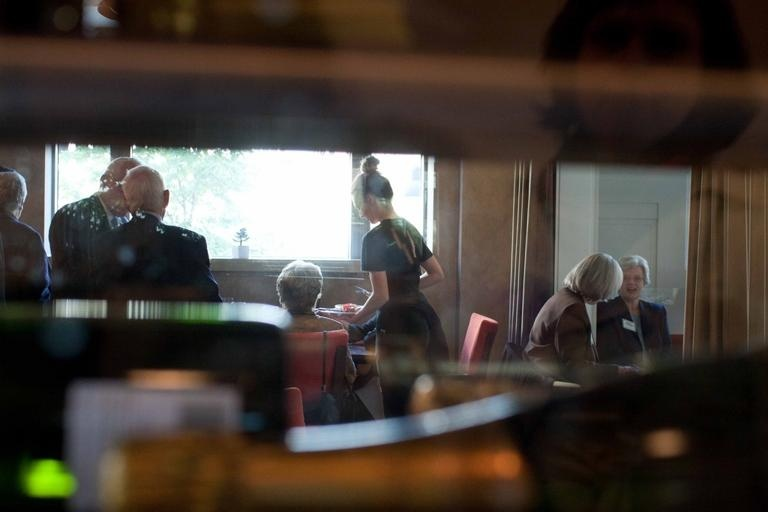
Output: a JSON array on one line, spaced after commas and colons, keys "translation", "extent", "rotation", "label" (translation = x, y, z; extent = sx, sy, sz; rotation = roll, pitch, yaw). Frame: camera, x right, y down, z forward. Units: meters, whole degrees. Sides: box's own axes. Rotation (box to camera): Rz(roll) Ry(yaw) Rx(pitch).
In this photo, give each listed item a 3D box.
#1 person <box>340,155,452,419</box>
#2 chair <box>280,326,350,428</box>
[{"translation": [0.038, 0.198, 2.290], "extent": [0.345, 0.959, 0.289], "rotation": [10, 18, 43], "label": "person"}, {"translation": [-0.172, 0.314, 1.827], "extent": [0.135, 0.276, 0.457], "rotation": [3, 2, 4], "label": "chair"}]
